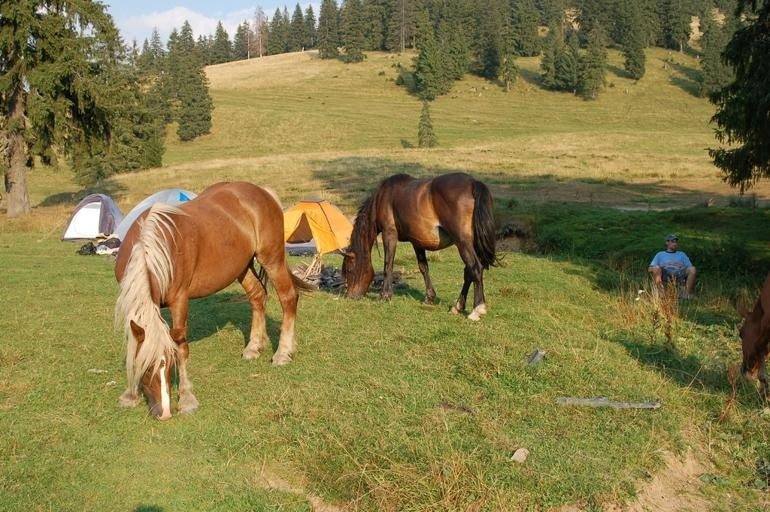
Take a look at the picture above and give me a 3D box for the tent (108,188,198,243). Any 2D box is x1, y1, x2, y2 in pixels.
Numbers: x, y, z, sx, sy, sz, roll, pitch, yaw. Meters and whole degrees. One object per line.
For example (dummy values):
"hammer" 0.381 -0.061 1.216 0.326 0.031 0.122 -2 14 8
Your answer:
"tent" -9.400 -2.042 27.673 3.207 1.562 3.499 2 9 0

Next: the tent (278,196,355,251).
"tent" -3.096 -1.376 26.946 2.871 1.395 2.699 2 6 -7

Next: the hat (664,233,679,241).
"hat" 8.922 -0.579 21.446 0.266 0.203 0.388 4 1 -19
